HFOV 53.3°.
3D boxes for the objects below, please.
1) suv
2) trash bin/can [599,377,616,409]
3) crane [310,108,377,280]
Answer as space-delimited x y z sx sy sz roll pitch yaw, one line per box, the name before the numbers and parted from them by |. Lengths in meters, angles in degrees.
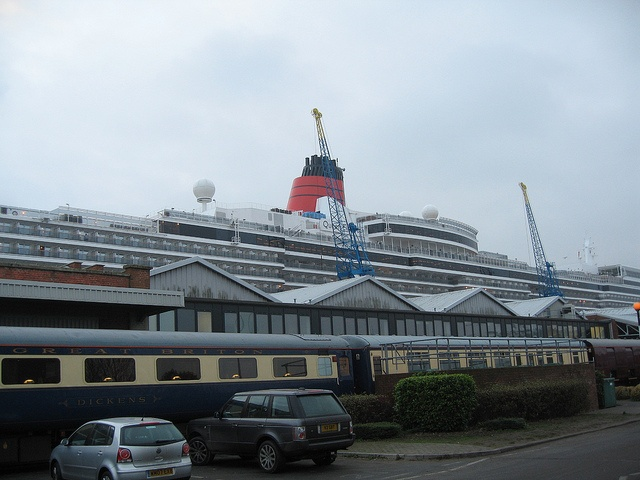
suv | -1.503 5.381 18.924 4.325 1.922 2.387 -3 -9 39
trash bin/can | 14.767 7.935 32.952 0.797 1.293 1.327 -13 -15 39
crane | 1.547 -6.585 85.346 8.180 26.114 5.069 -12 -16 1
